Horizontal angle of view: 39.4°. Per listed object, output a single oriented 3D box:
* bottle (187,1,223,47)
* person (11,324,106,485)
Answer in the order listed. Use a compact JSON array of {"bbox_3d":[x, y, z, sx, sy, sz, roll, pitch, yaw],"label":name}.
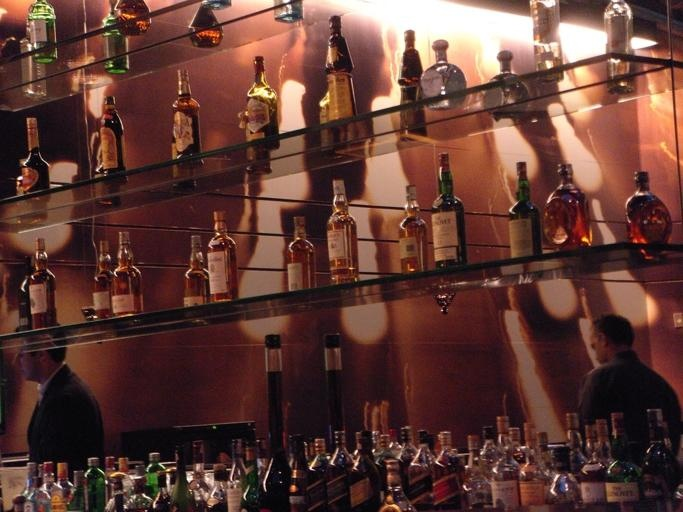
[{"bbox_3d":[-0.587,-0.981,4.055,0.118,0.219,0.103,-9,-33,8],"label":"bottle"},{"bbox_3d":[-1.551,0.825,5.131,0.368,1.089,0.508,-4,-27,-4],"label":"person"}]
